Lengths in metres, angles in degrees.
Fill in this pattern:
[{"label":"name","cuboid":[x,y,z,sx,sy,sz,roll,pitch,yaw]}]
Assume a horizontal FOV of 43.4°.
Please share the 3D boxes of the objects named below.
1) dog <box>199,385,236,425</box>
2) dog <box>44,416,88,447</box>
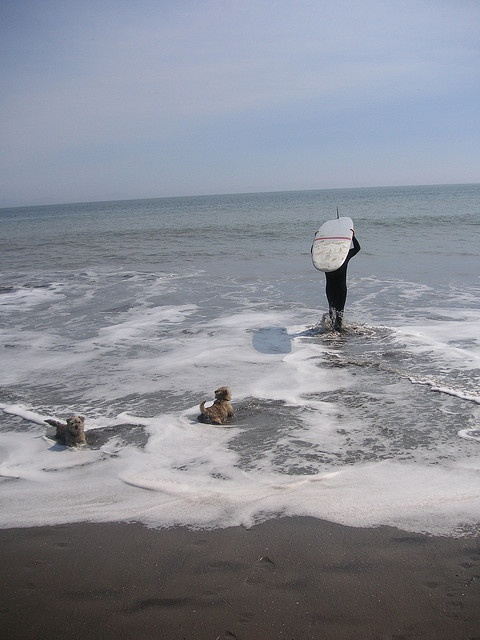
[{"label":"dog","cuboid":[-0.218,0.810,5.756,0.360,0.295,0.272,-7,14,-22]},{"label":"dog","cuboid":[-1.538,0.942,5.409,0.247,0.261,0.556,-12,15,-35]}]
